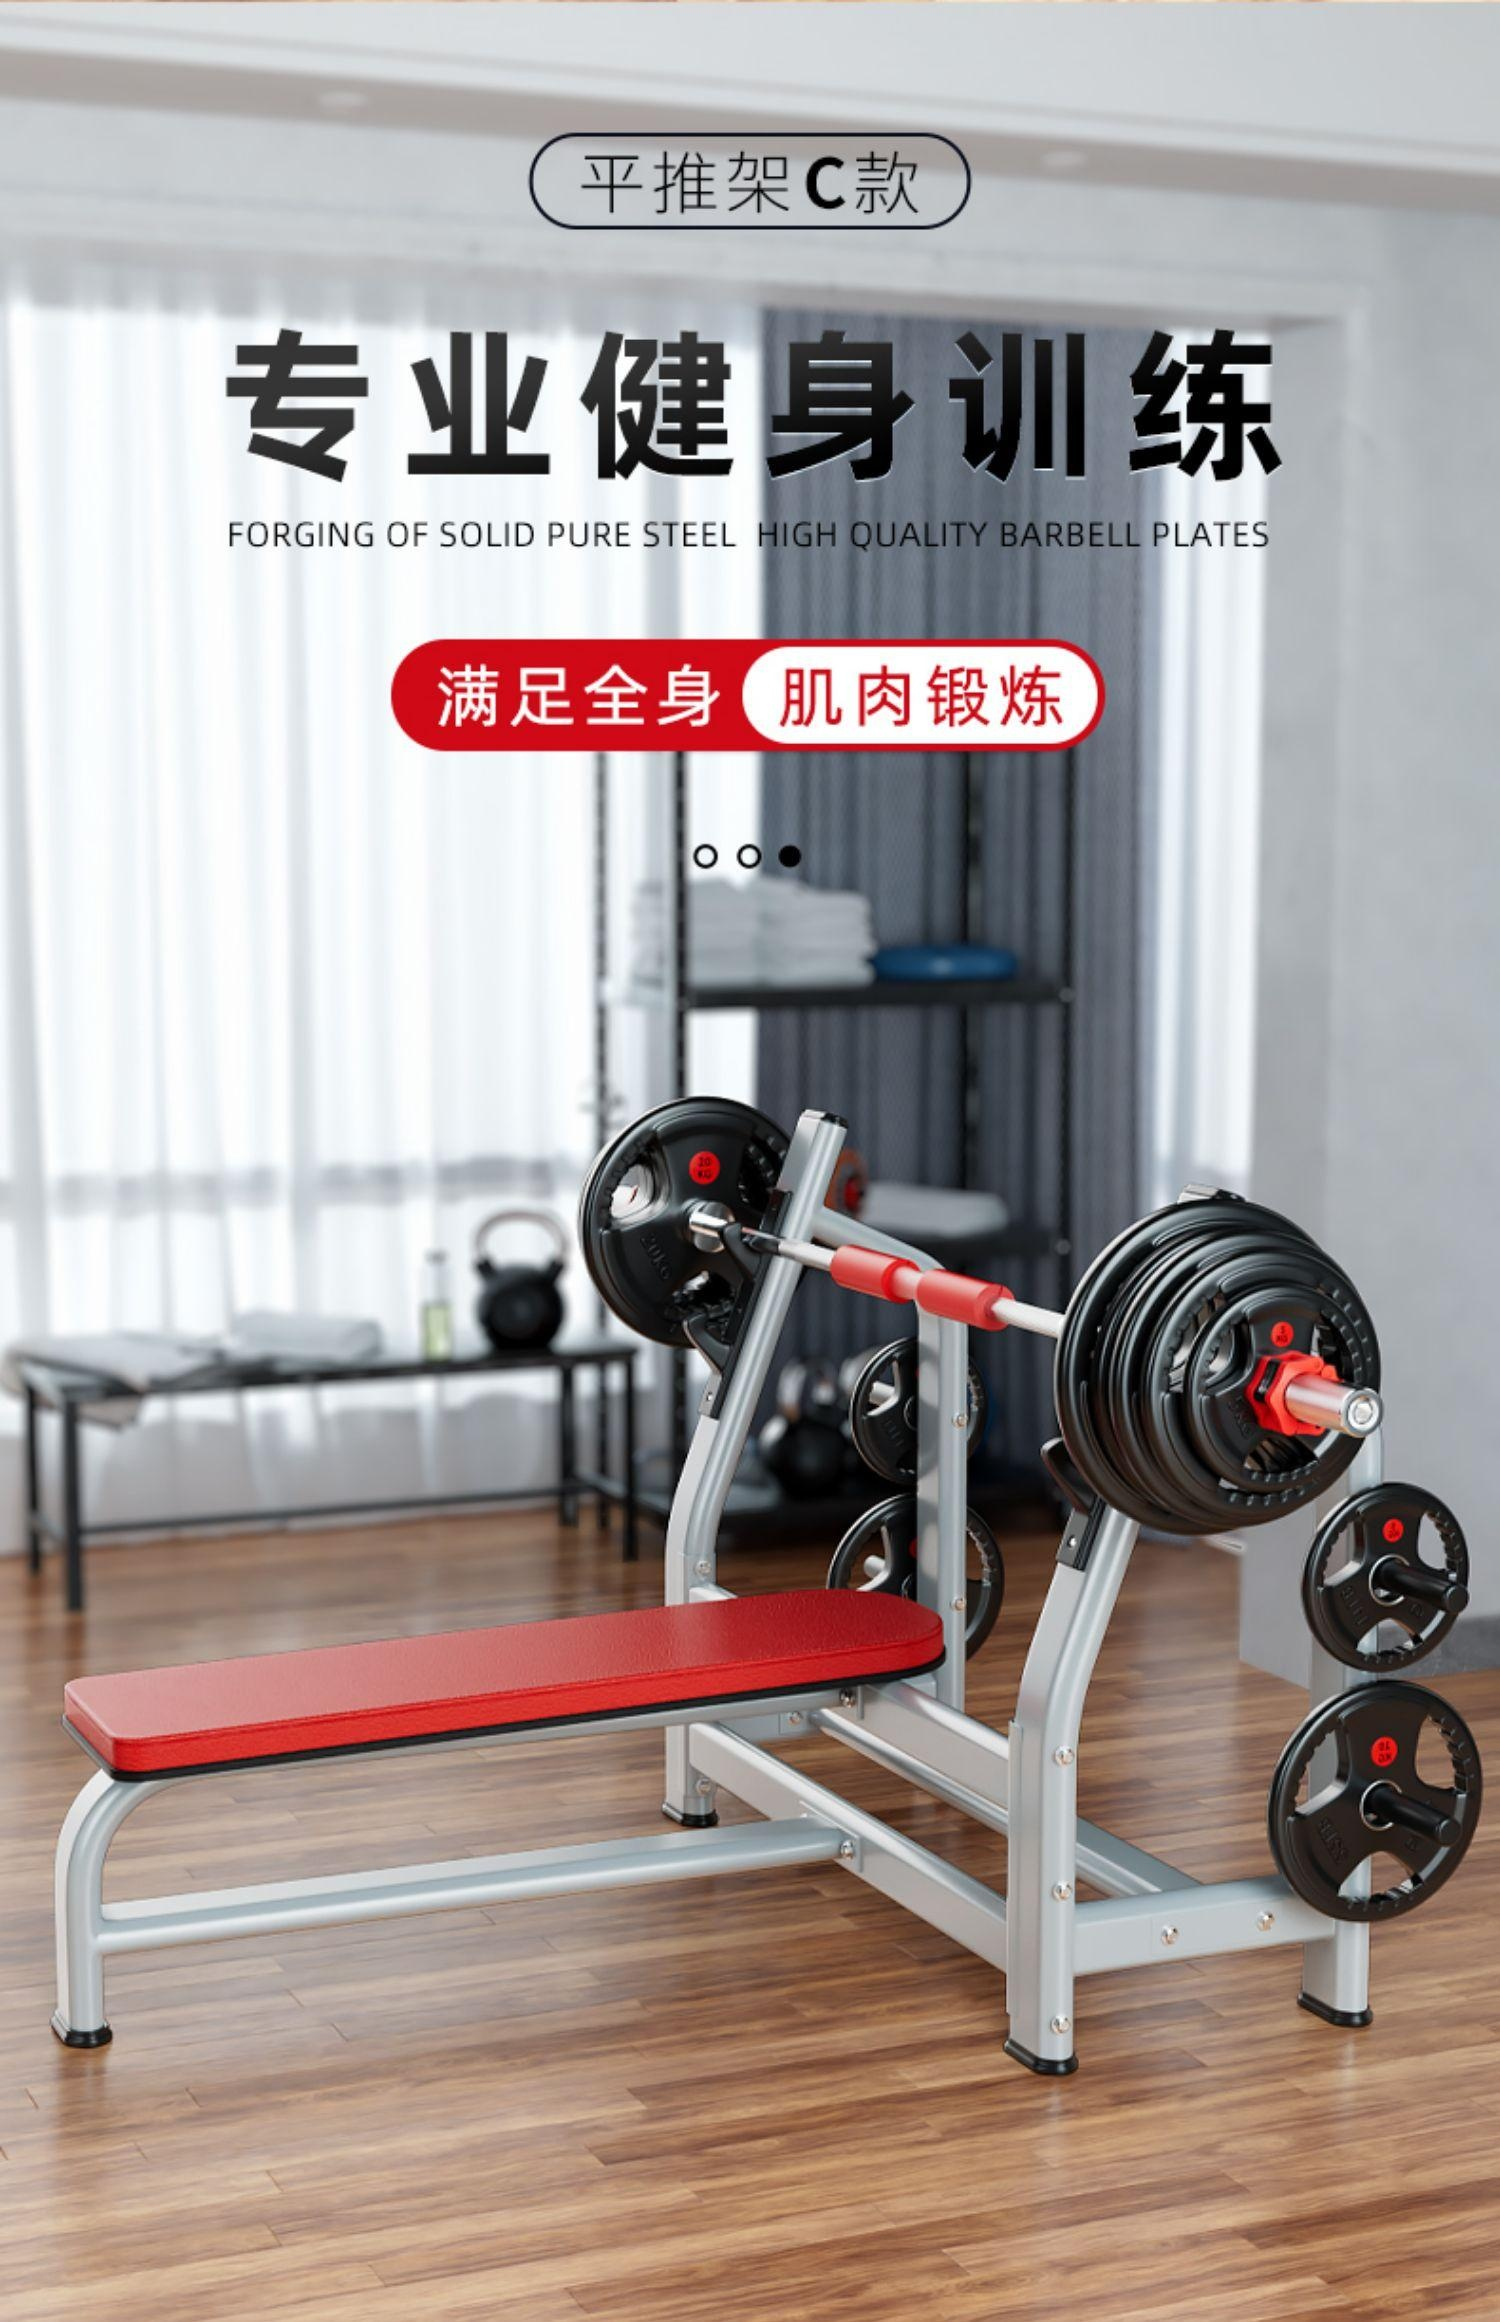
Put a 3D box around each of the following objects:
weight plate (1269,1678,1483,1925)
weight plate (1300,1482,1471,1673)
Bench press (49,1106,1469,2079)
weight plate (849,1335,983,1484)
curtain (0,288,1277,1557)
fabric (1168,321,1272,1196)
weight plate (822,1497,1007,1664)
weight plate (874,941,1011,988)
[{"bbox_3d":[0.631,0.657,2.136,0.257,0.246,0.120,-2,5,-20],"label":"weight plate"},{"bbox_3d":[0.640,0.412,1.990,0.178,0.180,0.197,0,-1,-12],"label":"weight plate"},{"bbox_3d":[-0.071,0.457,2.287,1.447,0.858,1.269,-3,3,-27],"label":"Bench press"},{"bbox_3d":[0.200,0.363,2.781,0.053,0.218,0.212,17,49,-11],"label":"weight plate"},{"bbox_3d":[-0.338,-0.559,4.208,2.855,2.769,0.113,0,5,-14],"label":"curtain"},{"bbox_3d":[1.157,-0.821,4.818,0.100,2.568,0.281,4,6,45],"label":"fabric"},{"bbox_3d":[0.236,0.577,2.839,0.256,0.335,0.341,-3,-9,0],"label":"weight plate"},{"bbox_3d":[0.453,-0.447,4.671,0.345,0.087,0.079,1,-1,-18],"label":"weight plate"}]
